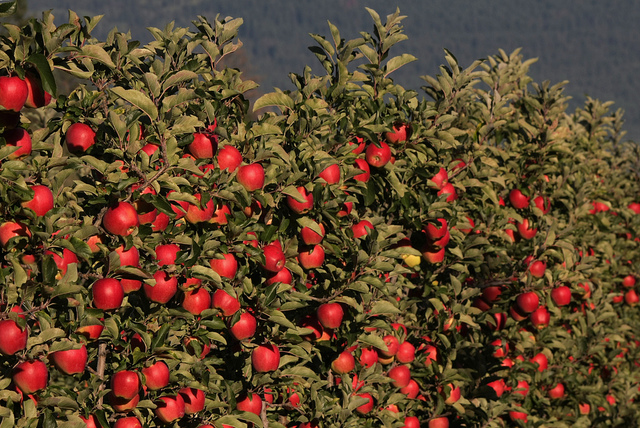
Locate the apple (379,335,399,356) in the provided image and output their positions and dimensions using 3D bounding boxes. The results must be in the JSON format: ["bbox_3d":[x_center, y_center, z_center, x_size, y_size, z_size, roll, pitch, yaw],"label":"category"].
[{"bbox_3d":[0.620,1.199,7.663,0.175,0.180,0.116,-4,-1,0],"label":"apple"}]

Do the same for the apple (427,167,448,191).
[{"bbox_3d":[1.099,-0.318,7.863,0.296,0.220,0.131,-3,0,-32],"label":"apple"}]

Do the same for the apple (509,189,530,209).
[{"bbox_3d":[1.972,-0.138,8.441,0.152,0.188,0.206,-1,-16,-2],"label":"apple"}]

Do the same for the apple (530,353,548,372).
[{"bbox_3d":[2.286,1.530,8.866,0.187,0.170,0.193,32,14,25],"label":"apple"}]

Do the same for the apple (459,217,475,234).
[{"bbox_3d":[1.420,0.114,8.174,0.107,0.159,0.325,-3,-1,21],"label":"apple"}]

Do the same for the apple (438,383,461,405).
[{"bbox_3d":[1.232,1.729,8.162,0.170,0.246,0.191,-8,13,5],"label":"apple"}]

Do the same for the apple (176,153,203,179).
[{"bbox_3d":[-1.094,-0.399,7.167,0.183,0.240,0.121,-31,-2,-17],"label":"apple"}]

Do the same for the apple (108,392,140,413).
[{"bbox_3d":[-1.640,1.593,7.059,0.172,0.192,0.182,-4,-7,-27],"label":"apple"}]

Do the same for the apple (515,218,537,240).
[{"bbox_3d":[2.048,0.167,8.503,0.173,0.259,0.194,-3,-3,2],"label":"apple"}]

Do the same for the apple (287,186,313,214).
[{"bbox_3d":[-0.176,-0.116,7.249,0.215,0.225,0.137,-3,-1,-5],"label":"apple"}]

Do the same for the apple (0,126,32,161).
[{"bbox_3d":[-2.495,-0.574,6.971,0.263,0.268,0.208,-3,-1,-31],"label":"apple"}]

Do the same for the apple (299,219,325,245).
[{"bbox_3d":[-0.099,0.193,7.334,0.135,0.199,0.247,-3,-1,-45],"label":"apple"}]

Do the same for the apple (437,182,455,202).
[{"bbox_3d":[1.183,-0.198,7.859,0.139,0.200,0.145,2,7,41],"label":"apple"}]

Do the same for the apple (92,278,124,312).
[{"bbox_3d":[-1.731,0.654,6.874,0.225,0.293,0.247,-15,-12,22],"label":"apple"}]

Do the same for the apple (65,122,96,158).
[{"bbox_3d":[-2.035,-0.609,7.207,0.220,0.302,0.228,-3,-3,14],"label":"apple"}]

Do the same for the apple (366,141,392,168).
[{"bbox_3d":[0.524,-0.518,7.635,0.198,0.283,0.221,9,-16,-2],"label":"apple"}]

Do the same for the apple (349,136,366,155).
[{"bbox_3d":[0.347,-0.605,7.648,0.127,0.185,0.138,9,7,26],"label":"apple"}]

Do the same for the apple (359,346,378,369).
[{"bbox_3d":[0.445,1.305,7.679,0.141,0.213,0.159,1,0,9],"label":"apple"}]

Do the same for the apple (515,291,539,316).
[{"bbox_3d":[2.029,0.873,8.353,0.190,0.199,0.186,-24,7,-42],"label":"apple"}]

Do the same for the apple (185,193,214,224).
[{"bbox_3d":[-1.015,-0.031,7.112,0.199,0.299,0.223,-2,-1,18],"label":"apple"}]

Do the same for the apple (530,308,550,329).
[{"bbox_3d":[2.181,1.044,8.432,0.166,0.243,0.188,-5,-5,8],"label":"apple"}]

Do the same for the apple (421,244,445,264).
[{"bbox_3d":[1.038,0.388,7.895,0.164,0.220,0.170,-22,12,-19],"label":"apple"}]

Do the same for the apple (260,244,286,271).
[{"bbox_3d":[-0.404,0.407,7.277,0.184,0.264,0.190,0,13,38],"label":"apple"}]

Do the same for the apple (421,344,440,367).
[{"bbox_3d":[1.065,1.363,8.107,0.176,0.202,0.085,-3,0,-28],"label":"apple"}]

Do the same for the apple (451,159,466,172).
[{"bbox_3d":[1.325,-0.466,8.107,0.126,0.112,0.192,-4,-1,10],"label":"apple"}]

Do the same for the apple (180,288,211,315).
[{"bbox_3d":[-1.032,0.761,7.213,0.226,0.321,0.240,-4,0,35],"label":"apple"}]

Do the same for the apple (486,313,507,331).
[{"bbox_3d":[1.797,1.086,8.624,0.153,0.199,0.172,2,2,2],"label":"apple"}]

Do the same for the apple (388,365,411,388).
[{"bbox_3d":[0.737,1.491,7.807,0.163,0.204,0.176,-10,1,34],"label":"apple"}]

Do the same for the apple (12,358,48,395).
[{"bbox_3d":[-2.317,1.331,6.877,0.217,0.258,0.238,14,5,12],"label":"apple"}]

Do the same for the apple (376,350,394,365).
[{"bbox_3d":[0.602,1.317,7.749,0.113,0.169,0.127,-1,3,3],"label":"apple"}]

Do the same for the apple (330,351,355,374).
[{"bbox_3d":[0.193,1.329,7.518,0.160,0.228,0.189,-2,35,23],"label":"apple"}]

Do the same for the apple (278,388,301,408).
[{"bbox_3d":[-0.279,1.664,7.688,0.144,0.215,0.161,6,5,15],"label":"apple"}]

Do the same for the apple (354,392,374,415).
[{"bbox_3d":[0.401,1.701,7.625,0.148,0.223,0.167,2,11,7],"label":"apple"}]

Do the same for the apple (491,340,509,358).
[{"bbox_3d":[1.841,1.375,8.671,0.149,0.217,0.167,1,12,6],"label":"apple"}]

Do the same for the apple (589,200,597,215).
[{"bbox_3d":[3.092,-0.061,9.632,0.063,0.163,0.120,4,6,26],"label":"apple"}]
